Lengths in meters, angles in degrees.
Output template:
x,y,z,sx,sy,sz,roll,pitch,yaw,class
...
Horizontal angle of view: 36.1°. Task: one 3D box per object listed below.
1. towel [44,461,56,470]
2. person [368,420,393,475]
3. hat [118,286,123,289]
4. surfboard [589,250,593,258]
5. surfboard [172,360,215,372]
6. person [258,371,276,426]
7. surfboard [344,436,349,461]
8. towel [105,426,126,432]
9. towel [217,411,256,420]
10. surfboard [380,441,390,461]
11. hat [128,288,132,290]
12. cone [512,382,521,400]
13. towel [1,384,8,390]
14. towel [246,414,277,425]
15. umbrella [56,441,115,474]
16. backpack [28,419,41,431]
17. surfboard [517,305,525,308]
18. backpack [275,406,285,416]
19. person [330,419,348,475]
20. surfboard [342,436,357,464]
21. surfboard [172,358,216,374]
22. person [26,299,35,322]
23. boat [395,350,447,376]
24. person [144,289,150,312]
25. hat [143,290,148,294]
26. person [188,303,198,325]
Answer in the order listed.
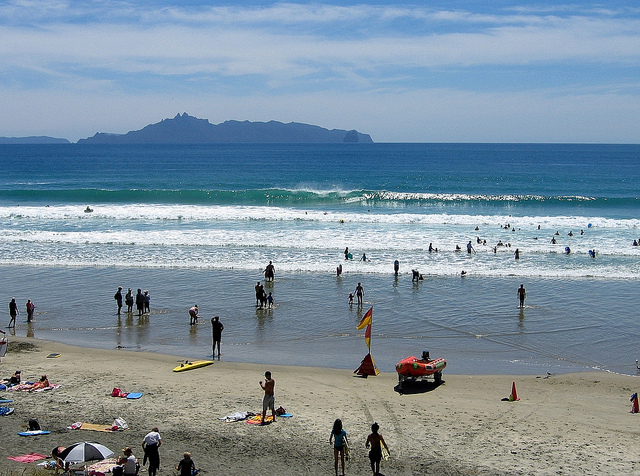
x,y,z,sx,sy,sz,roll,pitch,yaw,class
-8.943,7.607,32.608,0.435,0.238,0.261,-1,-1,14,towel
1.956,7.093,32.807,0.659,1.744,0.480,-1,0,-1,person
-9.456,2.368,46.577,0.241,0.107,0.230,3,8,29,hat
15.702,0.934,56.706,0.138,0.484,0.068,1,-44,14,surfboard
-5.021,5.061,38.773,1.509,0.247,0.465,-7,11,-39,surfboard
-1.879,5.723,35.119,0.595,1.887,1.299,-1,0,-2,person
0.908,7.103,32.974,0.119,0.801,0.627,-1,0,3,surfboard
-7.144,6.700,34.271,0.481,0.079,0.233,3,7,4,towel
-2.848,6.397,35.109,0.705,0.141,0.433,-1,9,-21,towel
2.221,7.283,33.122,0.290,0.640,0.628,-1,0,3,surfboard
-8.879,2.404,45.921,0.230,0.141,0.212,-3,-4,-23,hat
7.361,5.744,36.728,0.302,0.640,0.665,-1,-1,5,cone
-11.740,5.577,36.491,0.247,0.095,0.300,4,-1,-17,towel
-2.133,6.504,34.986,0.931,0.340,0.536,-1,-1,0,towel
-7.594,7.205,32.283,1.064,0.563,0.981,-1,-10,24,umbrella
-9.948,6.562,34.238,0.423,0.377,0.250,-1,0,-7,backpack
9.400,3.210,45.696,0.321,0.114,0.511,-1,-1,9,surfboard
-1.419,6.297,35.382,0.273,0.248,0.426,1,-13,-9,backpack
0.635,7.044,32.870,0.573,1.857,0.467,-1,0,-7,person
0.980,7.214,32.943,0.346,1.137,0.305,-2,13,18,surfboard
-5.017,5.090,38.914,1.138,0.523,1.827,-1,-1,36,surfboard
-12.921,3.250,43.776,0.338,0.910,1.111,-1,0,-17,person
3.866,4.854,37.476,1.680,0.931,0.842,0,-1,-35,boat
-7.890,2.902,44.811,0.233,0.951,0.470,-1,0,-11,person
-7.945,2.476,44.833,0.185,0.164,0.133,20,26,0,hat
-5.639,3.469,43.967,0.370,0.868,1.412,-1,-1,-8,person
